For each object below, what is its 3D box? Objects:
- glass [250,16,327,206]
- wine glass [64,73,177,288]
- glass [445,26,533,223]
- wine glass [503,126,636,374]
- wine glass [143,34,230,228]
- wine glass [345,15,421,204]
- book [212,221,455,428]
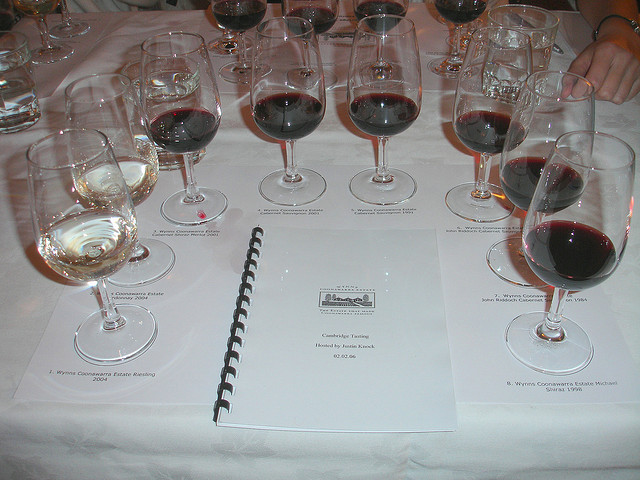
[{"bbox_3d":[-0.065,-0.242,0.973,0.193,0.432,0.202,-6,42,-6],"label":"glass"},{"bbox_3d":[-0.384,-0.118,0.936,0.169,0.376,0.158,-23,34,-34],"label":"wine glass"},{"bbox_3d":[0.338,-0.226,0.976,0.141,0.352,0.147,-25,40,-26],"label":"glass"},{"bbox_3d":[0.372,0.023,0.727,0.159,0.398,0.165,10,38,20],"label":"wine glass"},{"bbox_3d":[-0.271,-0.218,0.969,0.152,0.342,0.138,-11,33,-15],"label":"wine glass"},{"bbox_3d":[0.132,-0.258,1.001,0.157,0.348,0.151,9,40,16],"label":"wine glass"},{"bbox_3d":[0.036,0.114,0.798,0.332,0.260,0.342,-3,7,9],"label":"book"}]
